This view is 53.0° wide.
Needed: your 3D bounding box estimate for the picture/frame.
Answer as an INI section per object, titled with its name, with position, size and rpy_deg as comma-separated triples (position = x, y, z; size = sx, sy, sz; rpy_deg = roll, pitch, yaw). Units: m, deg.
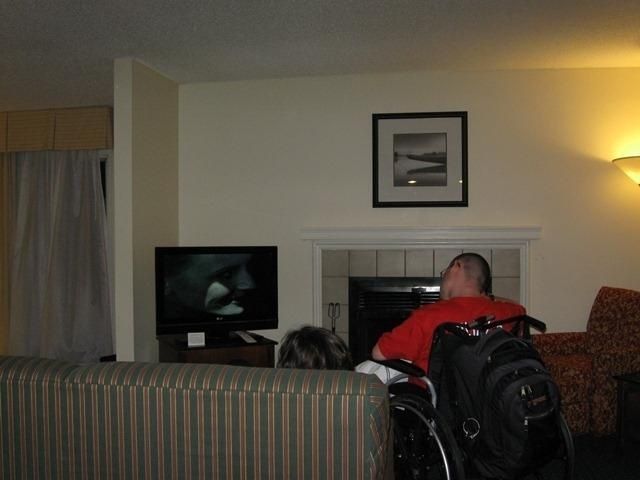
[picture/frame]
position = 0.821, -0.634, 5.085
size = 0.716, 0.769, 0.051
rpy_deg = 0, 1, 7
